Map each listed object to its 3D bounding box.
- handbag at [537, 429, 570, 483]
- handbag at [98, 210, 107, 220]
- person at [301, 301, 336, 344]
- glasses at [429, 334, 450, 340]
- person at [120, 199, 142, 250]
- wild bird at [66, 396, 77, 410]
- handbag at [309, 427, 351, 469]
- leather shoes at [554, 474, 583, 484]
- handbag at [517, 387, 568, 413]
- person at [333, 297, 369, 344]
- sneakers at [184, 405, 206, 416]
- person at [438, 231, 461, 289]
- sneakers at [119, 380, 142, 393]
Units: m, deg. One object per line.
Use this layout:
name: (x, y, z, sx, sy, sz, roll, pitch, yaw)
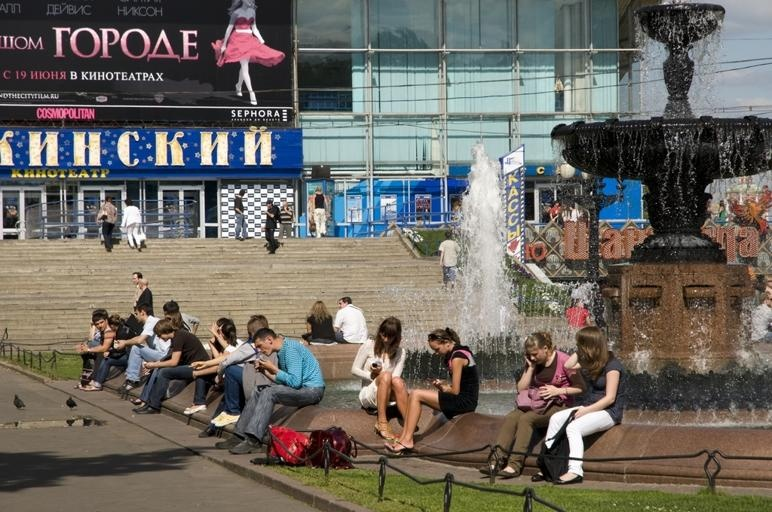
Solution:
handbag: (3.651, 4.315, 33.908, 0.709, 0.927, 0.512, -1, -1, 12)
handbag: (-10.086, -1.450, 55.360, 0.325, 0.306, 0.327, -4, -11, 41)
person: (-1.809, 1.776, 42.250, 0.960, 1.163, 1.090, 0, 5, -7)
glasses: (1.234, 1.794, 35.058, 0.496, 0.105, 0.181, -1, -1, 2)
person: (-9.199, -1.124, 56.199, 0.719, 1.209, 0.952, -1, -1, -10)
wild bird: (-7.895, 3.617, 38.579, 0.226, 0.287, 0.302, -9, -11, 2)
handbag: (-1.231, 4.248, 34.540, 0.933, 0.884, 0.806, -14, -14, 39)
leather shoes: (4.002, 4.858, 33.920, 0.674, 0.254, 0.226, 4, -4, -5)
handbag: (3.432, 3.149, 34.400, 0.844, 0.351, 0.534, -3, -7, -34)
person: (-1.032, 1.724, 42.363, 0.975, 1.294, 1.260, -3, 6, -11)
sneakers: (-4.644, 3.712, 37.683, 0.496, 0.195, 0.227, -2, 2, 20)
person: (2.190, 0.092, 52.795, 0.660, 1.417, 2.141, -1, -1, 3)
sneakers: (-6.609, 3.325, 40.017, 0.642, 0.266, 0.217, 2, 0, 13)
